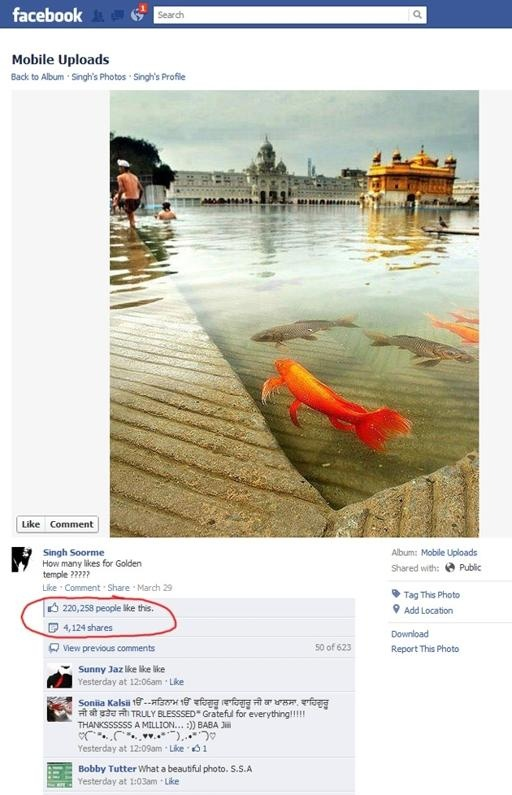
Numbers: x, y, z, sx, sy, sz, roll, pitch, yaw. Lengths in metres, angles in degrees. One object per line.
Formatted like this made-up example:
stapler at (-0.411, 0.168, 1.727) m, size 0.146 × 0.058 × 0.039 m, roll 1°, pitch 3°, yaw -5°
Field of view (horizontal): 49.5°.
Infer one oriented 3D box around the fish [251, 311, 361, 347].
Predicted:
fish at (0.381, -0.482, 3.999) m, size 0.518 × 0.074 × 0.195 m, roll -10°, pitch 33°, yaw -6°

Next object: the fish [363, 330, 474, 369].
fish at (1.061, -0.314, 3.649) m, size 0.668 × 0.187 × 0.189 m, roll 17°, pitch 19°, yaw 24°

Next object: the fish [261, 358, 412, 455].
fish at (0.425, 0.017, 3.260) m, size 0.405 × 0.338 × 0.779 m, roll -27°, pitch 56°, yaw -23°

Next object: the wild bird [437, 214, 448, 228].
wild bird at (1.759, -1.641, 5.242) m, size 0.054 × 0.139 × 0.082 m, roll -20°, pitch 60°, yaw 7°
